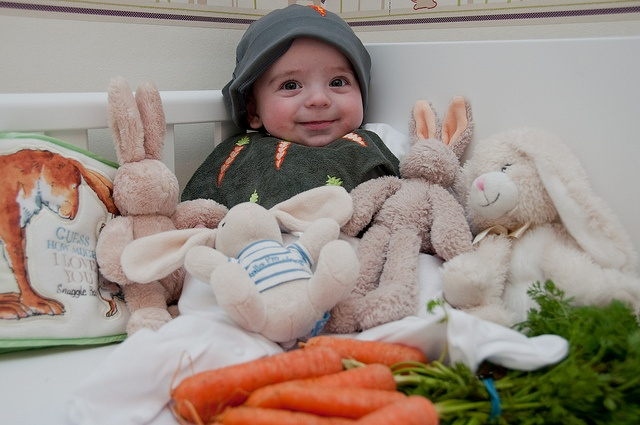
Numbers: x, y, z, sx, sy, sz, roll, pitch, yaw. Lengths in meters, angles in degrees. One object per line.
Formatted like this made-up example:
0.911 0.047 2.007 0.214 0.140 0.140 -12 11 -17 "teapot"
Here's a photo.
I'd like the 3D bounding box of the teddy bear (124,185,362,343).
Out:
-0.185 0.086 1.141 0.530 0.208 0.446 0 46 -7 "teddy bear"
